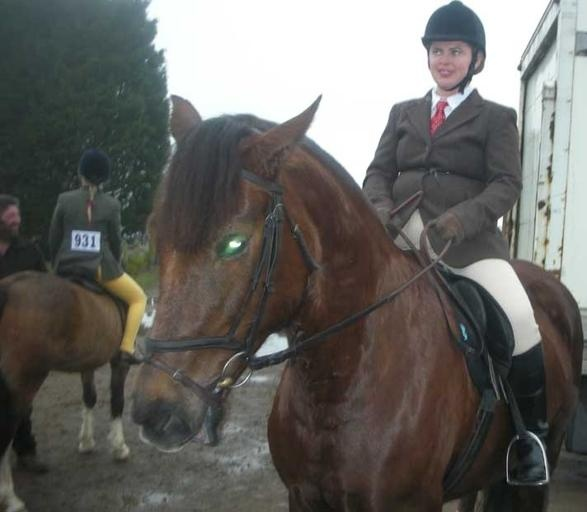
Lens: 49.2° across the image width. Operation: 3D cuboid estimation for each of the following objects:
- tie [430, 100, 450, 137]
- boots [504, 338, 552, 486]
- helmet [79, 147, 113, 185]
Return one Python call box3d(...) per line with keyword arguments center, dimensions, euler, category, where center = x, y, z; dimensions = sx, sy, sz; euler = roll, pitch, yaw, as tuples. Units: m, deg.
box3d(center=(0.863, -0.824, 3.823), dimensions=(0.083, 0.228, 0.055), euler=(8, -18, 30), category="tie")
box3d(center=(1.316, 0.875, 3.611), dimensions=(0.141, 0.806, 0.221), euler=(-3, 9, 17), category="boots")
box3d(center=(-1.747, -0.766, 5.647), dimensions=(0.258, 0.312, 0.244), euler=(-3, 9, -23), category="helmet")
